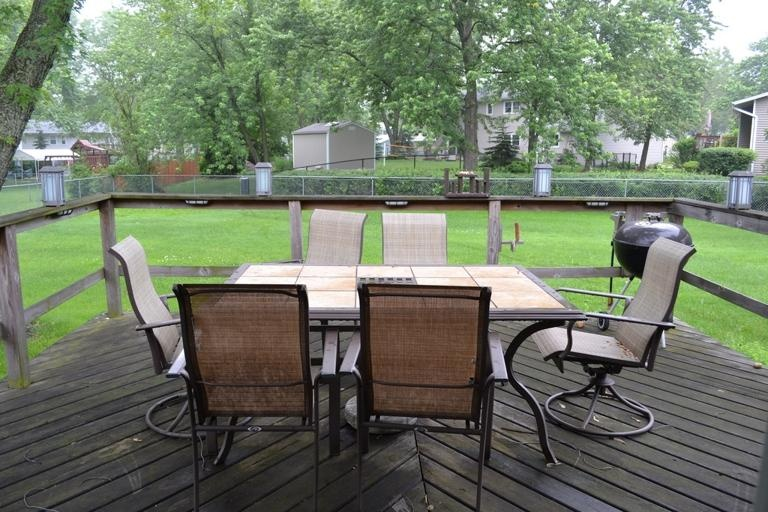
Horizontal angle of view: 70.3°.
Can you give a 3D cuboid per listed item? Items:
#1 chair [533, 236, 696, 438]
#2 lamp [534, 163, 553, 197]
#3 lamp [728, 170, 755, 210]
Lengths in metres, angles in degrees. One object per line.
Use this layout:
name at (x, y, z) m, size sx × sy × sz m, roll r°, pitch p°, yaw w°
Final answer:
chair at (1.679, 0.561, 4.094) m, size 1.090 × 1.286 × 0.975 m, roll -2°, pitch 7°, yaw 11°
lamp at (2.046, -0.977, 6.983) m, size 0.211 × 0.414 × 0.321 m, roll 1°, pitch 13°, yaw 13°
lamp at (3.701, -0.684, 5.630) m, size 0.203 × 0.373 × 0.463 m, roll 6°, pitch 15°, yaw 30°
